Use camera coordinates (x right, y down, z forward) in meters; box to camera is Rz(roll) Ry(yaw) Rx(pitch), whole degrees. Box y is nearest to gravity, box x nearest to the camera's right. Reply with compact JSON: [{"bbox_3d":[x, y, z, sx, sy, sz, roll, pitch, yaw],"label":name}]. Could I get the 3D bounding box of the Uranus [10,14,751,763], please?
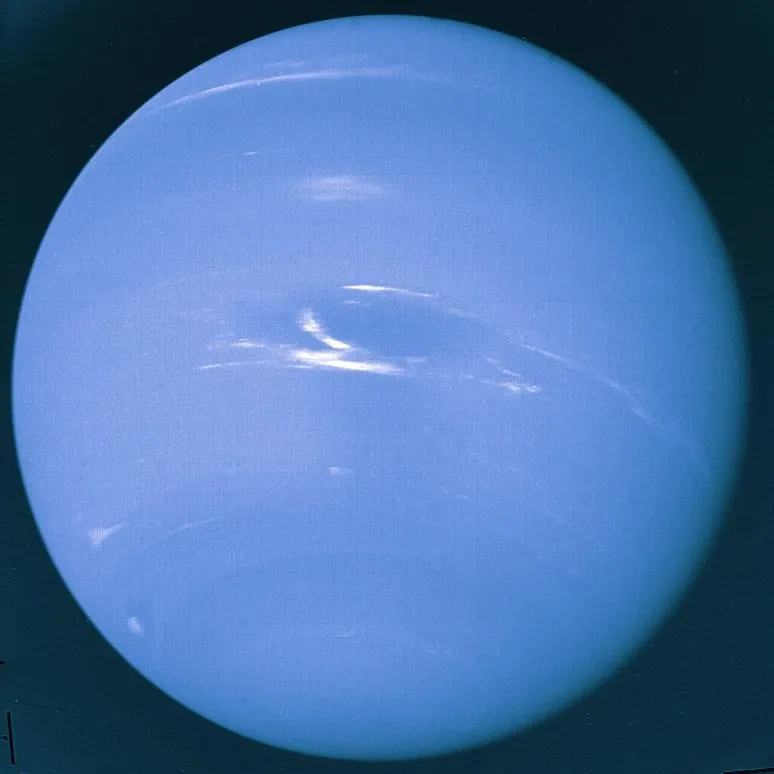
[{"bbox_3d":[-0.005,0.000,2.109,1.135,0.489,1.034,-9,65,-3],"label":"Uranus"}]
